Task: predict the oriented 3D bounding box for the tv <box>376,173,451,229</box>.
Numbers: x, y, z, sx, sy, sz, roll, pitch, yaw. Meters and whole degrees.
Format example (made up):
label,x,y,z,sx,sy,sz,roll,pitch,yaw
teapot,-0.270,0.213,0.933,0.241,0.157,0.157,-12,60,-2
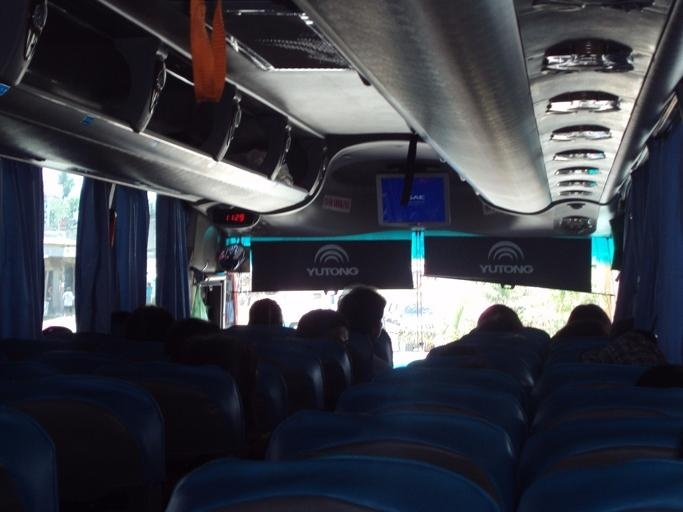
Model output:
label,x,y,z,sx,sy,sz,roll,pitch,yaw
tv,0.774,-0.596,5.694,0.797,0.619,0.082,-1,-6,-8
